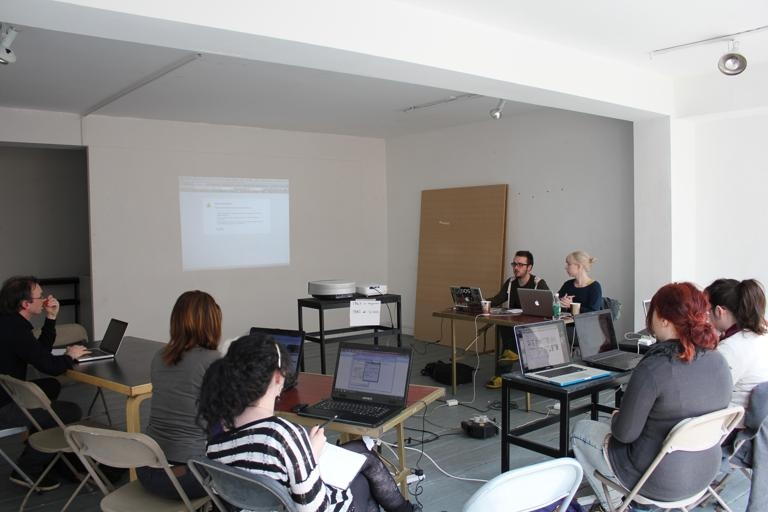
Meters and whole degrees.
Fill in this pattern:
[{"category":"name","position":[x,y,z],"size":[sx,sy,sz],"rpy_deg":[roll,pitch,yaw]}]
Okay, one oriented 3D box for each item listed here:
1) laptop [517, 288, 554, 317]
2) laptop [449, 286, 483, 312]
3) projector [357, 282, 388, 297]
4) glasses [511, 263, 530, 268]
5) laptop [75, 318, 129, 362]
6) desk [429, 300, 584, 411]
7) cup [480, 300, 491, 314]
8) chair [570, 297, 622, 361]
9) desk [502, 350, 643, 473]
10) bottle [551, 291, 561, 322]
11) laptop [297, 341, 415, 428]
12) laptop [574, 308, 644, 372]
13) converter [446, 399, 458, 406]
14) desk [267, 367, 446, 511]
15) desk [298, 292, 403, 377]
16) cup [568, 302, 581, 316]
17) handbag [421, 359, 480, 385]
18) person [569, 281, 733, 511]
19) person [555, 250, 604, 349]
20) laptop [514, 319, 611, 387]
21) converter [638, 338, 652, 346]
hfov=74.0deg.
[{"category":"laptop","position":[1.658,0.504,5.519],"size":[0.389,0.262,0.279],"rpy_deg":[1,12,45]},{"category":"laptop","position":[0.990,0.479,6.059],"size":[0.355,0.240,0.296],"rpy_deg":[2,2,44]},{"category":"projector","position":[-0.096,0.389,5.829],"size":[0.296,0.123,0.286],"rpy_deg":[-1,3,-34]},{"category":"glasses","position":[1.700,0.106,6.260],"size":[0.216,0.111,0.144],"rpy_deg":[-1,1,16]},{"category":"laptop","position":[-2.491,0.724,4.401],"size":[0.440,0.265,0.474],"rpy_deg":[-4,2,-39]},{"category":"desk","position":[1.233,1.296,6.153],"size":[1.018,1.224,1.825],"rpy_deg":[0,0,-45]},{"category":"cup","position":[1.166,0.602,5.868],"size":[0.132,0.135,0.131],"rpy_deg":[0,-4,0]},{"category":"chair","position":[1.964,0.684,4.762],"size":[0.582,0.382,0.331],"rpy_deg":[-1,0,-39]},{"category":"desk","position":[1.583,1.303,4.090],"size":[1.259,0.744,0.633],"rpy_deg":[-2,0,-34]},{"category":"bottle","position":[1.885,0.531,5.533],"size":[0.071,0.226,0.403],"rpy_deg":[-1,1,19]},{"category":"laptop","position":[-0.177,0.797,3.204],"size":[0.618,0.349,0.573],"rpy_deg":[-1,4,38]},{"category":"laptop","position":[1.966,0.705,4.289],"size":[0.630,0.348,0.480],"rpy_deg":[-1,6,-33]},{"category":"converter","position":[0.753,1.595,5.578],"size":[0.143,0.057,0.171],"rpy_deg":[-1,1,2]},{"category":"desk","position":[-0.182,1.062,3.525],"size":[1.015,0.931,1.034],"rpy_deg":[-1,0,41]},{"category":"desk","position":[-0.400,0.826,5.470],"size":[1.214,0.943,0.456],"rpy_deg":[-3,4,-37]},{"category":"cup","position":[2.033,0.568,5.436],"size":[0.128,0.138,0.154],"rpy_deg":[2,-3,-36]},{"category":"handbag","position":[0.776,1.441,6.324],"size":[0.473,0.165,0.341],"rpy_deg":[-1,-4,37]},{"category":"person","position":[1.649,0.884,3.160],"size":[0.846,1.432,0.443],"rpy_deg":[0,1,32]},{"category":"person","position":[2.178,0.553,5.885],"size":[0.657,1.134,0.593],"rpy_deg":[-1,3,-39]},{"category":"laptop","position":[1.320,0.632,3.854],"size":[0.603,0.361,0.498],"rpy_deg":[-1,0,-36]},{"category":"converter","position":[2.520,0.819,4.881],"size":[0.076,0.030,0.105],"rpy_deg":[3,2,41]}]
